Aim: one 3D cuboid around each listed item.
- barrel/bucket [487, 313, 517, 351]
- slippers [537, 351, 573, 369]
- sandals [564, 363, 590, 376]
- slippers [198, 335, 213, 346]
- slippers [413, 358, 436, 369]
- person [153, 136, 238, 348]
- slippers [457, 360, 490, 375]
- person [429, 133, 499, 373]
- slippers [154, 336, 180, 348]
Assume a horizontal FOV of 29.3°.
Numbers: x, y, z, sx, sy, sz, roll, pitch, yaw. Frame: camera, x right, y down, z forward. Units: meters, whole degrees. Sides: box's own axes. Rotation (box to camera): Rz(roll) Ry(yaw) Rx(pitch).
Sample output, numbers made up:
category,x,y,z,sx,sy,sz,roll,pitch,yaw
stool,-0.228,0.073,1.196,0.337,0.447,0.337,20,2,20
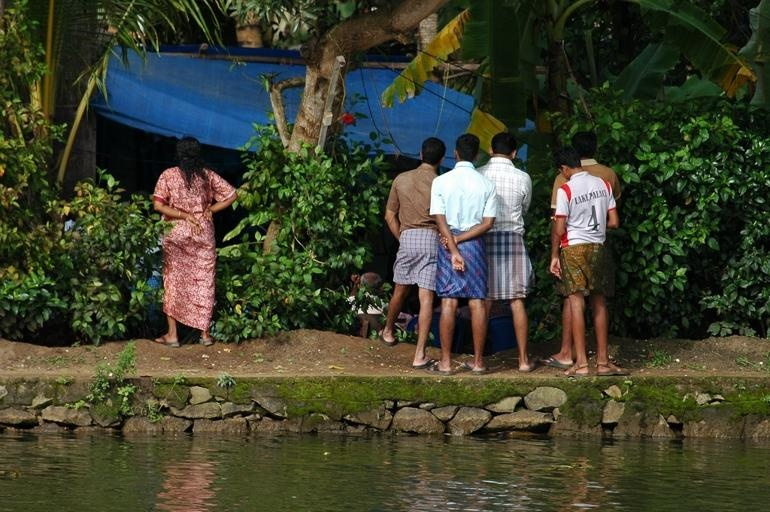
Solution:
category,x,y,z,sx,sy,sz,roll,pitch,yaw
barrel/bucket,1.472,0.983,18.696,0.445,0.470,0.435,-3,-1,0
slippers,2.034,1.236,17.446,0.181,0.111,0.324,-5,7,-44
sandals,2.183,1.313,16.927,0.249,0.097,0.139,3,4,37
slippers,-2.194,1.053,18.137,0.174,0.122,0.153,0,-4,-8
slippers,0.463,1.288,17.443,0.257,0.098,0.098,-24,27,-35
person,-2.385,-0.178,18.196,0.903,2.581,0.312,0,-4,-8
slippers,1.020,1.313,17.211,0.146,0.094,0.359,-3,6,-26
person,0.912,-0.048,17.161,0.751,2.820,0.330,-1,-4,-1
slippers,-2.664,1.045,18.053,0.307,0.100,0.121,10,9,24
